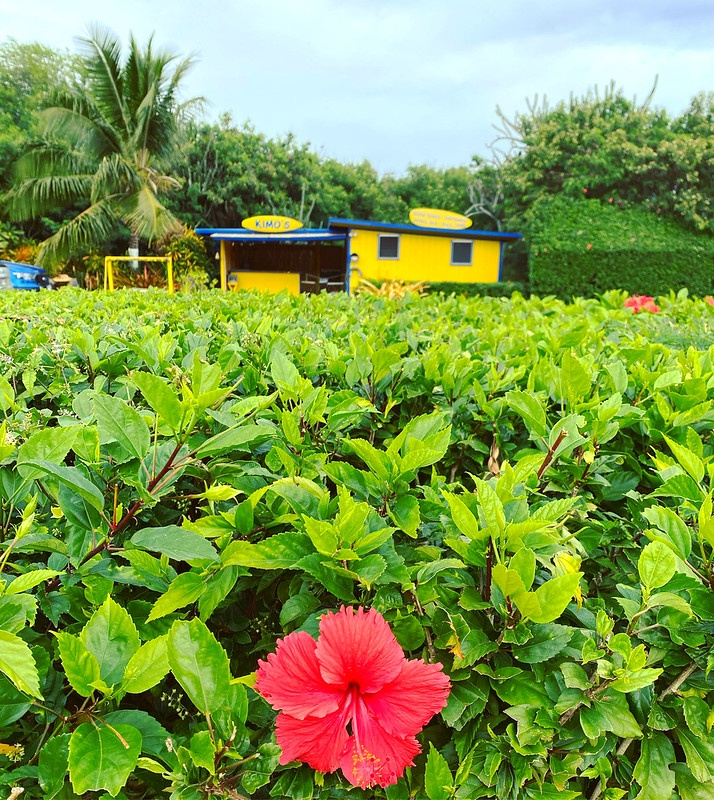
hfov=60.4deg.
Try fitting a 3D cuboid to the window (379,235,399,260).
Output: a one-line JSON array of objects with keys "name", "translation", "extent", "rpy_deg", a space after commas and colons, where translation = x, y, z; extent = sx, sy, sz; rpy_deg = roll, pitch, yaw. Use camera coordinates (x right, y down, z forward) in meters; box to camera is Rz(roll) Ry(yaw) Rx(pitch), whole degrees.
[{"name": "window", "translation": [1.007, -4.920, 19.792], "extent": [0.784, 0.785, 0.080], "rpy_deg": [-3, 6, -24]}]

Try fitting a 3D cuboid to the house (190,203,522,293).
[{"name": "house", "translation": [-0.062, -5.040, 21.156], "extent": [9.693, 2.837, 5.852], "rpy_deg": [7, 12, 22]}]

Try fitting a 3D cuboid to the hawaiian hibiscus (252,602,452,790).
[{"name": "hawaiian hibiscus", "translation": [-0.021, 0.386, 0.803], "extent": [0.232, 0.094, 0.230], "rpy_deg": [11, 27, 12]}]
